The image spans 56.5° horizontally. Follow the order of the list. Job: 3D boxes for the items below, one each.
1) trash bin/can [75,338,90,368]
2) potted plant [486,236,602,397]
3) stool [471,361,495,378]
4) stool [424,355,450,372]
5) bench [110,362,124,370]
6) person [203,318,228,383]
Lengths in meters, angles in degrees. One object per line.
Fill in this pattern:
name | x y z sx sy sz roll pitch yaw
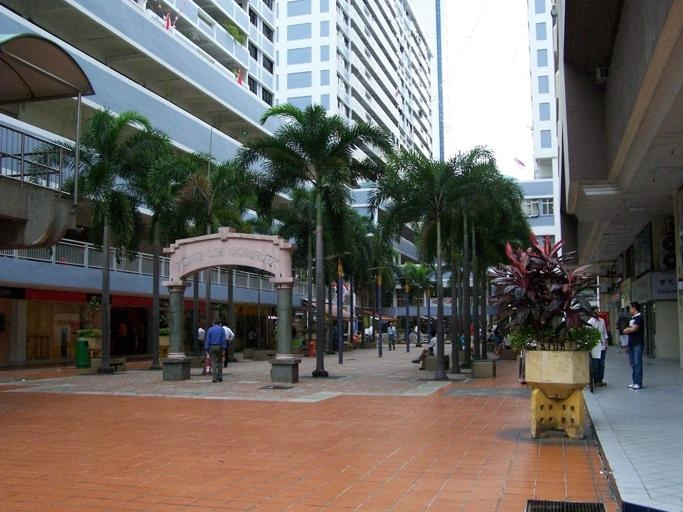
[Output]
trash bin/can | -10.103 3.804 24.741 0.403 1.111 0.269 2 -10 -17
potted plant | 3.653 1.113 11.289 1.589 2.611 1.868 3 -2 25
stool | 4.827 3.869 21.635 0.528 0.468 0.596 -1 -4 5
stool | 3.570 4.098 24.408 0.799 0.617 0.883 -1 -2 4
bench | -9.150 4.533 25.915 0.435 0.408 1.233 2 -13 -16
person | -4.196 3.137 21.280 0.720 2.164 1.593 1 -10 -12
